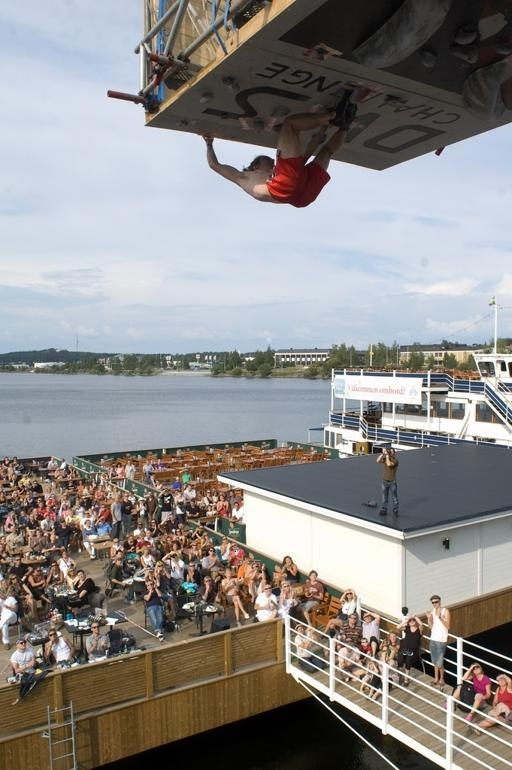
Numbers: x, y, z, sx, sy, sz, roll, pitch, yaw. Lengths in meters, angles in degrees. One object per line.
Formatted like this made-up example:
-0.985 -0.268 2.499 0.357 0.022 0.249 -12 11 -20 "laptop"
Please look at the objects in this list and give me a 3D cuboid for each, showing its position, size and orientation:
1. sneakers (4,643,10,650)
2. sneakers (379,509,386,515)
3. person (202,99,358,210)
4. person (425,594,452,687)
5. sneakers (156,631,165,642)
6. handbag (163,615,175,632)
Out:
-4.577 4.841 13.214 0.094 0.080 0.173 0 0 -23 "sneakers"
2.513 2.523 14.138 0.131 0.128 0.243 0 0 10 "sneakers"
0.305 -2.046 6.529 1.053 1.045 0.909 0 0 -39 "person"
2.977 4.162 11.681 0.302 1.646 0.995 0 0 13 "person"
-1.739 4.685 13.265 0.071 0.111 0.211 4 -2 -31 "sneakers"
-1.650 4.597 13.805 0.208 0.275 0.358 0 0 0 "handbag"
